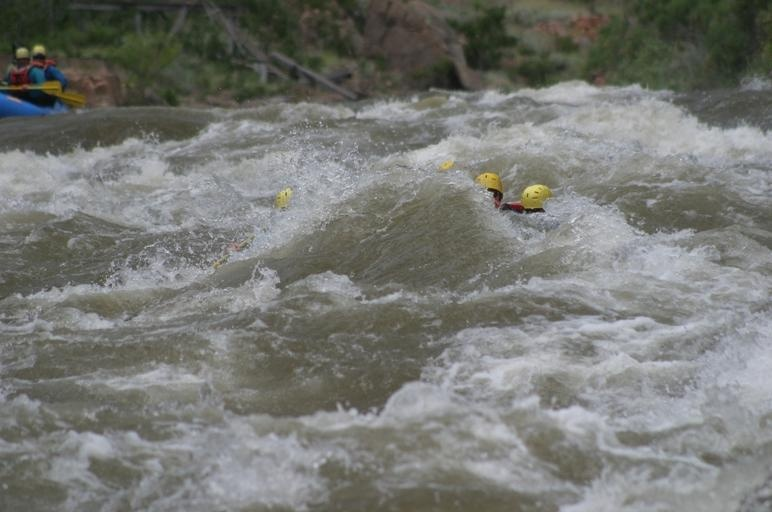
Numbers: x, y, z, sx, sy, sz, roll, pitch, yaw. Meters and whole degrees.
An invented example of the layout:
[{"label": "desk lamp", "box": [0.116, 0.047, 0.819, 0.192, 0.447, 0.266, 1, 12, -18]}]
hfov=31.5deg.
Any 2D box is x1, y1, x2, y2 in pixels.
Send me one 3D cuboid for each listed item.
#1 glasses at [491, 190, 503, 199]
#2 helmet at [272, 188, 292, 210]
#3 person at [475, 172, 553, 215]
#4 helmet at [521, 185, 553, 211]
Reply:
[{"label": "glasses", "box": [2.332, -1.285, 28.549, 0.169, 0.207, 0.187, 2, 41, 51]}, {"label": "helmet", "box": [-2.099, -1.253, 28.971, 0.275, 0.205, 0.586, 10, 45, 39]}, {"label": "person", "box": [2.606, -1.325, 28.303, 1.422, 0.488, 0.810, 16, 19, 2]}, {"label": "helmet", "box": [3.070, -1.235, 28.167, 0.667, 0.468, 0.511, 18, 58, -23]}]
